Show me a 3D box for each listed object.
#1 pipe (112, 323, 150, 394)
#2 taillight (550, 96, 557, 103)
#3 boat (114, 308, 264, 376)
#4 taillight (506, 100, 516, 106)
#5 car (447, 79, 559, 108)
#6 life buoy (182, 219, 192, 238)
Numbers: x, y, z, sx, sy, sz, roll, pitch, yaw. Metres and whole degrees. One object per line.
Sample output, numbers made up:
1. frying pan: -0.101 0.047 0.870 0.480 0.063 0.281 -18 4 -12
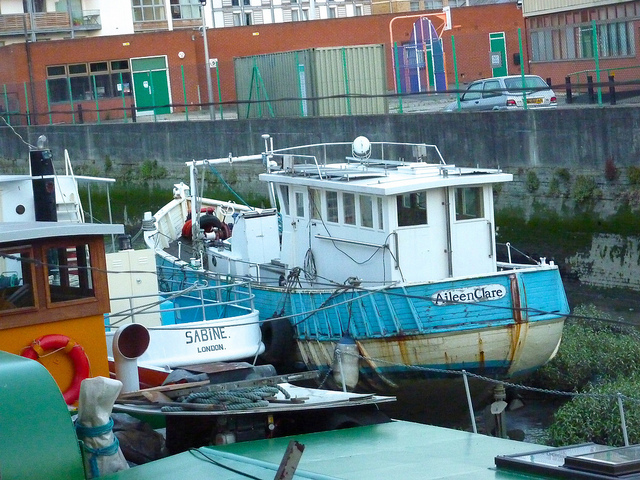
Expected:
1. pipe: -2.736 1.683 15.957 0.496 1.061 0.500 -13 6 -39
2. taillight: 5.506 -3.342 25.686 0.127 0.154 0.232 -3 6 15
3. boat: -2.000 1.669 19.886 2.121 0.941 4.347 -7 3 -5
4. taillight: 4.731 -3.413 26.866 0.286 0.157 0.092 0 7 45
5. car: 4.791 -3.629 27.026 1.183 1.045 2.048 -6 12 -33
6. life buoy: -2.910 -0.235 23.449 0.091 0.297 0.286 6 6 30
